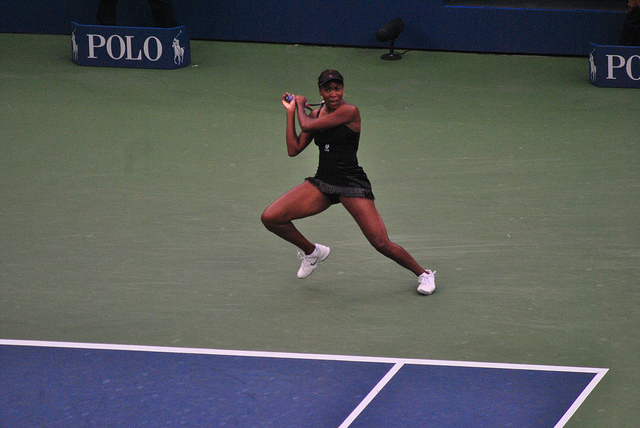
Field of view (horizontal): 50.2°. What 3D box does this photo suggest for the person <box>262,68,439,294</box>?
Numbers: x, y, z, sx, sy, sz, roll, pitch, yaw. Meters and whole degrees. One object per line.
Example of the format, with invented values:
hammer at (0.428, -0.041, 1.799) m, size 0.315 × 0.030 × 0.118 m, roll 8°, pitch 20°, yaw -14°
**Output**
person at (0.233, -0.337, 7.482) m, size 1.732 × 2.407 × 0.933 m, roll -2°, pitch 12°, yaw -4°
